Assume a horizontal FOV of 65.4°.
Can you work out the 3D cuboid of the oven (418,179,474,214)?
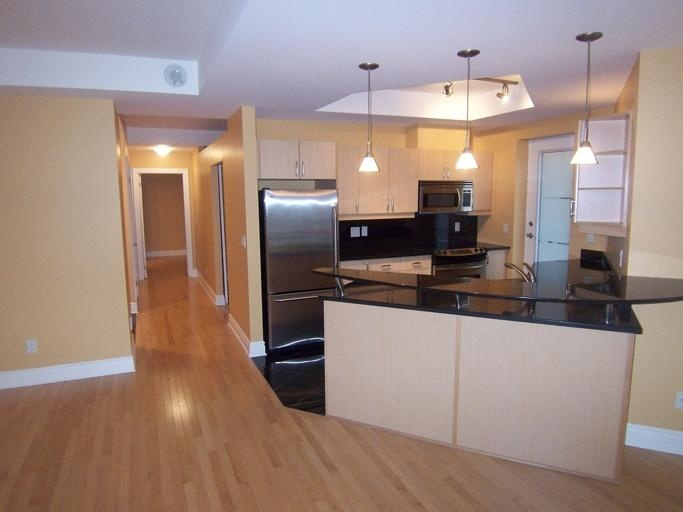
[{"bbox_3d":[1.277,-0.752,6.750,0.705,0.364,0.417,-2,6,-22],"label":"oven"}]

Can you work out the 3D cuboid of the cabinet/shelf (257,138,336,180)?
[{"bbox_3d":[-0.504,-1.074,5.979,0.888,0.437,0.295,-4,14,-17],"label":"cabinet/shelf"}]

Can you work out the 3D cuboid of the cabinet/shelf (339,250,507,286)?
[{"bbox_3d":[1.071,0.148,6.570,2.271,0.371,0.106,-3,6,-19],"label":"cabinet/shelf"}]

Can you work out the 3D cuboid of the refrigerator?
[{"bbox_3d":[-0.535,0.111,6.275,1.065,1.815,1.109,-10,18,-36],"label":"refrigerator"}]

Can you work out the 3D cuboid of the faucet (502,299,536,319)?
[{"bbox_3d":[1.339,0.409,4.005,0.222,0.105,0.136,-1,11,-1],"label":"faucet"}]
